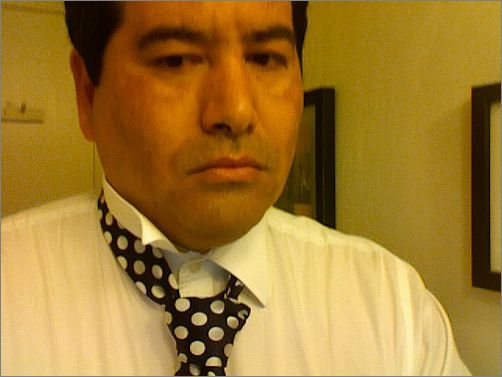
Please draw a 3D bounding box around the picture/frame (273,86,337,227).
[{"bbox_3d":[0.078,-0.055,0.917,0.014,0.204,0.188,1,1,-19],"label":"picture/frame"}]
